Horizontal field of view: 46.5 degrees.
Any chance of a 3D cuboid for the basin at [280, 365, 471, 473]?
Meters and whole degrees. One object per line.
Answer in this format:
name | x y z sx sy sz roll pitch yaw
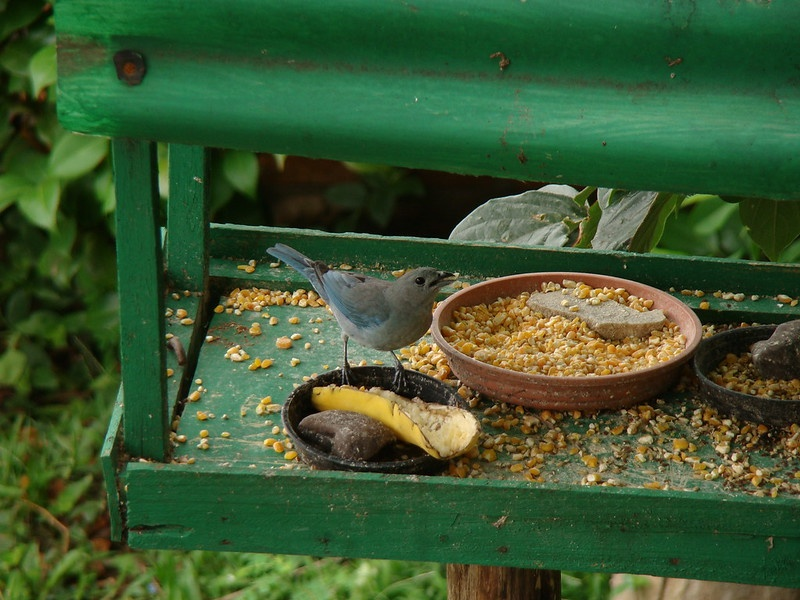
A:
basin | -0.076 0.362 2.654 0.505 0.148 0.506 0 21 0
